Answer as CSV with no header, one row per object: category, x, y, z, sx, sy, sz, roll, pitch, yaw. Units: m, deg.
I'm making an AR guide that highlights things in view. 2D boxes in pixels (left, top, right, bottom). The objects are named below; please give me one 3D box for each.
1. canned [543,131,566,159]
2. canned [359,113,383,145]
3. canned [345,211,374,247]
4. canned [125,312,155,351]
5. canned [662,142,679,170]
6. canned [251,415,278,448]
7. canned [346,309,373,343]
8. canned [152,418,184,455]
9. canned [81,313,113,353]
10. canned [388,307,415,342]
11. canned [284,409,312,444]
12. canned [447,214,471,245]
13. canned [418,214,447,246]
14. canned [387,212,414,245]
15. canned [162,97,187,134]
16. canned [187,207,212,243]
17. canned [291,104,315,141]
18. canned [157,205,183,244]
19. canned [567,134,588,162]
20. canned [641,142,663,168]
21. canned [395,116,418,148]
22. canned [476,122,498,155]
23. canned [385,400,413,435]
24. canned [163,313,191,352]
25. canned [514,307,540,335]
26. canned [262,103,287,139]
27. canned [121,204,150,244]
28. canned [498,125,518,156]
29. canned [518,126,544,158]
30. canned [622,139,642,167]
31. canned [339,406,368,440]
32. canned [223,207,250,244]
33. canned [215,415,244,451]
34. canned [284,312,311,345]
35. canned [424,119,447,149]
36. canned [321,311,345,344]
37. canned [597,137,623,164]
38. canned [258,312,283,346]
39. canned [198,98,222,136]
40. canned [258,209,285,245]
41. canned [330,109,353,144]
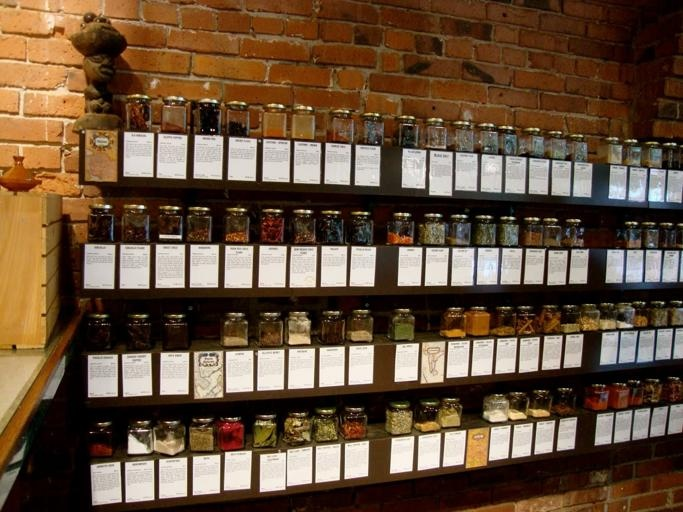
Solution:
canned,1.088,-0.553,3.473,0.158,0.144,0.070,-4,1,-33
canned,0.145,-0.595,3.291,0.139,0.152,0.136,1,5,-35
canned,0.092,-0.122,3.239,0.151,0.227,0.145,0,5,-5
canned,-0.902,0.346,3.089,0.139,0.196,0.148,1,2,-13
canned,1.754,-0.535,3.669,0.081,0.150,0.146,-3,1,36
canned,-0.352,0.811,3.163,0.139,0.199,0.139,1,3,-2
canned,0.093,0.339,3.315,0.119,0.140,0.130,-12,29,-23
canned,-0.780,0.837,3.155,0.146,0.161,0.161,2,-5,-30
canned,-1.094,0.333,3.107,0.111,0.169,0.114,9,11,8
canned,0.290,0.338,3.354,0.113,0.147,0.115,0,4,-22
canned,-0.202,0.811,3.271,0.146,0.141,0.128,0,2,-24
canned,0.586,-0.125,3.412,0.127,0.147,0.128,-6,11,-38
canned,0.440,-0.124,3.318,0.142,0.203,0.140,-2,5,-32
canned,0.287,-0.124,3.331,0.120,0.146,0.119,-2,5,-31
canned,-0.738,-0.618,3.057,0.148,0.194,0.148,-1,7,-16
canned,-0.637,-0.135,3.105,0.145,0.211,0.144,0,3,-7
canned,-0.179,-0.610,3.205,0.157,0.156,0.158,1,4,-14
canned,-0.768,-0.142,3.098,0.144,0.206,0.150,1,2,-7
canned,1.203,-0.545,3.488,0.111,0.142,0.065,-4,0,-15
canned,1.639,-0.533,3.639,0.145,0.141,0.066,-4,1,-42
canned,0.332,-0.612,3.322,0.103,0.170,0.109,9,35,17
canned,0.724,-0.567,3.365,0.110,0.157,0.080,-3,0,-1
canned,0.293,0.808,3.356,0.127,0.147,0.108,12,-16,-40
canned,-0.740,0.345,3.095,0.137,0.197,0.150,1,3,-6
canned,0.928,0.338,3.459,0.132,0.177,0.129,1,4,2
canned,-0.308,-0.610,3.175,0.123,0.158,0.130,3,0,-25
canned,-0.925,-0.128,3.122,0.152,0.174,0.154,-5,-10,19
canned,0.833,-0.565,3.410,0.163,0.151,0.065,-4,1,-42
canned,0.945,-0.565,3.446,0.113,0.150,0.062,-3,0,13
canned,1.522,-0.532,3.607,0.091,0.147,0.163,-3,1,23
canned,0.064,0.782,3.322,0.129,0.160,0.140,2,19,2
canned,-0.470,-0.131,3.129,0.146,0.212,0.145,1,2,-5
canned,-0.521,0.827,3.226,0.132,0.181,0.140,1,1,-13
canned,-0.203,0.343,3.220,0.117,0.161,0.077,-3,0,-9
canned,0.454,-0.583,3.320,0.099,0.152,0.048,-3,0,0
canned,-0.042,0.344,3.228,0.140,0.195,0.137,2,3,-3
canned,1.399,-0.547,3.593,0.118,0.141,0.091,-3,1,19
canned,-0.318,0.347,3.241,0.141,0.207,0.142,1,3,-6
canned,-0.589,-0.638,3.123,0.124,0.175,0.118,-6,33,-20
canned,-0.315,-0.132,3.152,0.144,0.207,0.144,1,2,-5
canned,0.002,-0.593,3.259,0.127,0.187,0.122,-1,-18,11
